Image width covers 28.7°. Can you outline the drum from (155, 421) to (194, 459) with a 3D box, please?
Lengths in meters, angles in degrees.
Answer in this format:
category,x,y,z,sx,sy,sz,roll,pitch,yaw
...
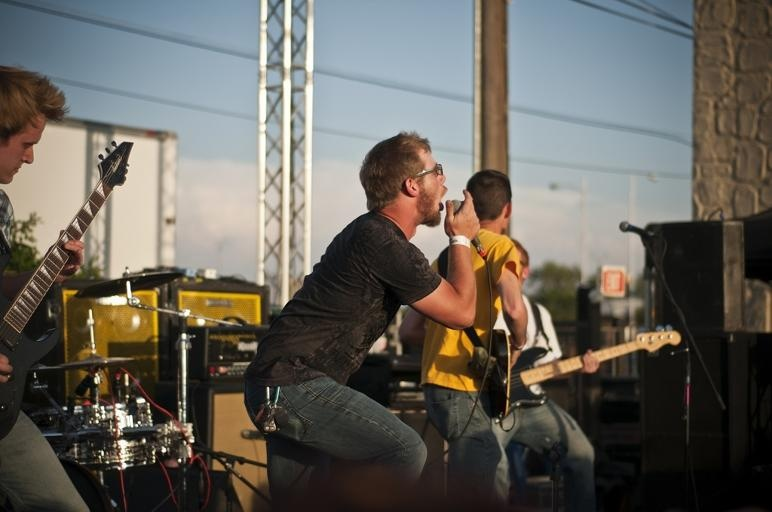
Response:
category,x,y,z,sx,sy,sz,roll,pitch,yaw
drum,-2.230,1.966,16.009,0.363,0.431,0.294,1,-4,-5

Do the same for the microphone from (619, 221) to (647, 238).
category,x,y,z,sx,sy,sz,roll,pitch,yaw
microphone,2.552,-0.279,15.610,0.185,0.161,0.394,-3,-6,36

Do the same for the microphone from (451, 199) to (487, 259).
category,x,y,z,sx,sy,sz,roll,pitch,yaw
microphone,0.835,-0.227,14.827,0.216,0.786,0.221,-30,27,0
